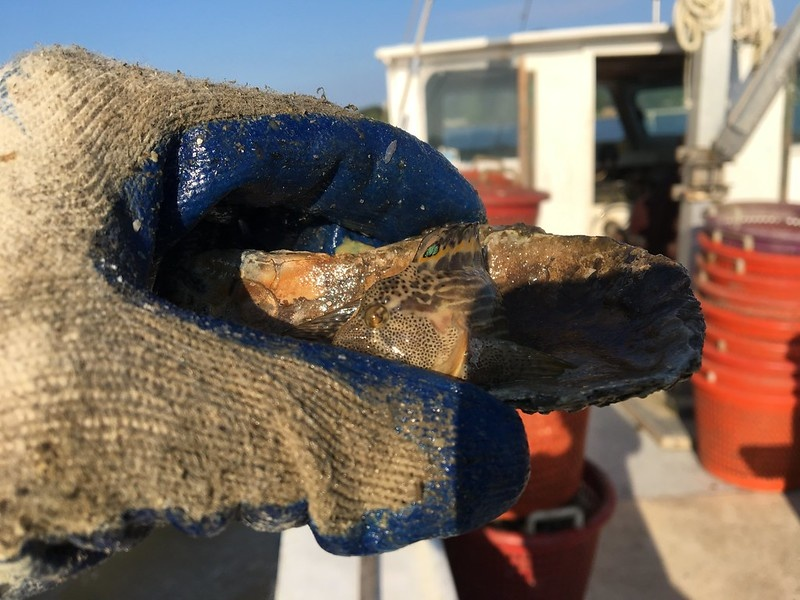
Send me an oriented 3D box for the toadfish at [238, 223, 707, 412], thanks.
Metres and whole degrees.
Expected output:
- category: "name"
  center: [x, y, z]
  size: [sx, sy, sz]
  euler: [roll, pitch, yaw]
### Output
- category: "toadfish"
  center: [0.402, 0.079, 5.906]
  size: [1.192, 0.427, 0.812]
  euler: [-15, 38, -24]
